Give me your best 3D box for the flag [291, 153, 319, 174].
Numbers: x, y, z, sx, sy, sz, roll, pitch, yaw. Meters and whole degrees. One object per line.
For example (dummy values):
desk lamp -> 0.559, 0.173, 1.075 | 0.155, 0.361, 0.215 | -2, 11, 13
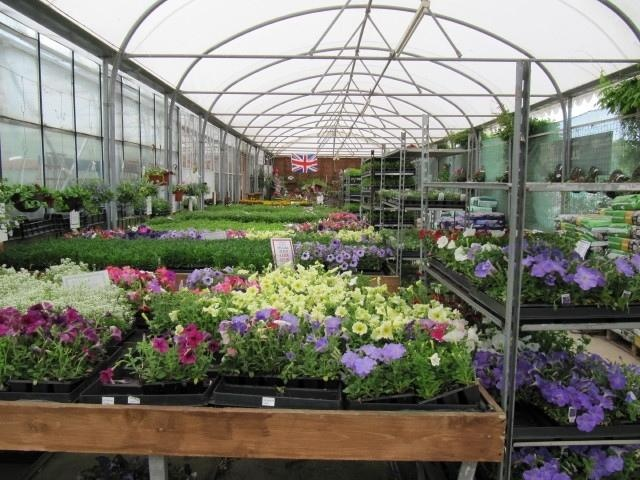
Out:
flag -> -1.064, -5.554, 31.685 | 2.907, 1.820, 0.204 | -2, 25, -6
